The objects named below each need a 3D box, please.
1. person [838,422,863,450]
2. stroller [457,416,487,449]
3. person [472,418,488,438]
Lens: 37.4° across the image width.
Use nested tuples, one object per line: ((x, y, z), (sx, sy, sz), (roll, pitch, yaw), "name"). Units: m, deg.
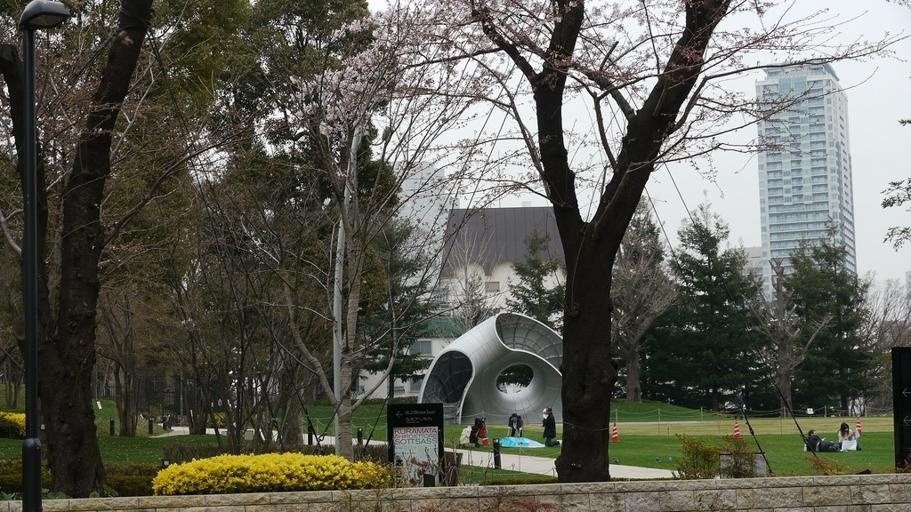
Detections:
((16.946, 7.725, 57.832), (1.024, 1.449, 1.028), (2, -13, -9), "person")
((0.862, 7.978, 60.705), (1.419, 1.393, 1.135), (0, -6, -13), "stroller")
((0.969, 7.721, 60.315), (0.552, 1.096, 0.810), (1, -12, -4), "person")
